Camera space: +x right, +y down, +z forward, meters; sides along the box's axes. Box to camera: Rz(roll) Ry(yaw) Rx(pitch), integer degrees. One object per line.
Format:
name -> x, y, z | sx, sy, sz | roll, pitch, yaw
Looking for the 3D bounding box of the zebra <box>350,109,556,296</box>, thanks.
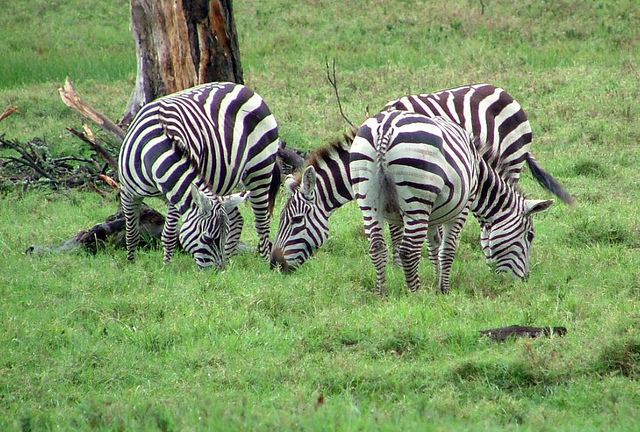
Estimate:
zebra -> 2.256, -0.321, 18.243 | 3.325, 3.321, 1.300 | -6, 18, -12
